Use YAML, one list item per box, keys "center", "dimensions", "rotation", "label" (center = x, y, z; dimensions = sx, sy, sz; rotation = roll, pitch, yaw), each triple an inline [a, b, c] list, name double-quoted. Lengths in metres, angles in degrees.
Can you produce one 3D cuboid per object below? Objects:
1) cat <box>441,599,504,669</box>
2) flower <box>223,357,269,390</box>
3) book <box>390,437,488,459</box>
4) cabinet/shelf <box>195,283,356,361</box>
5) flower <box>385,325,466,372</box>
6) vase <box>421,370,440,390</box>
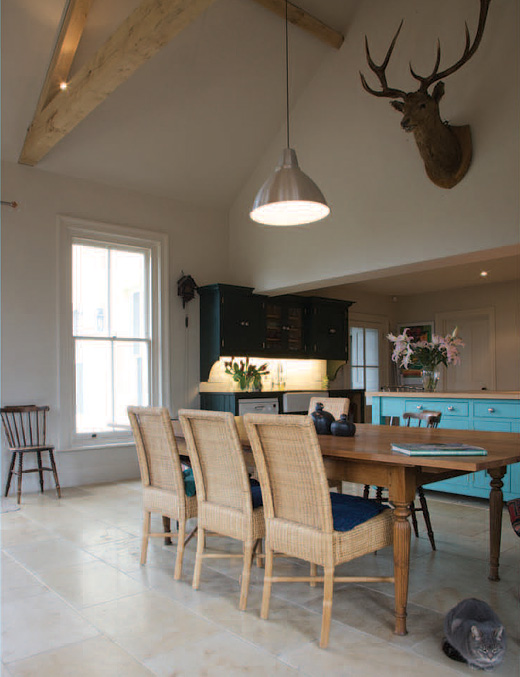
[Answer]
- center: [0.760, 1.026, 1.866]
  dimensions: [0.131, 0.145, 0.204]
  rotation: [-2, 7, 5]
  label: "cat"
- center: [-0.187, 0.453, 6.681]
  dimensions: [0.401, 0.333, 0.419]
  rotation: [0, -3, 31]
  label: "flower"
- center: [0.717, 0.450, 2.110]
  dimensions: [0.370, 0.027, 0.256]
  rotation: [-2, -6, 12]
  label: "book"
- center: [0.230, -0.122, 6.906]
  dimensions: [2.166, 0.935, 0.408]
  rotation: [3, -6, -34]
  label: "cabinet/shelf"
- center: [2.076, 0.111, 6.497]
  dimensions: [0.679, 0.537, 0.696]
  rotation: [1, -4, -32]
  label: "flower"
- center: [1.527, 0.373, 4.678]
  dimensions: [0.152, 0.201, 0.167]
  rotation: [2, -7, -9]
  label: "vase"
